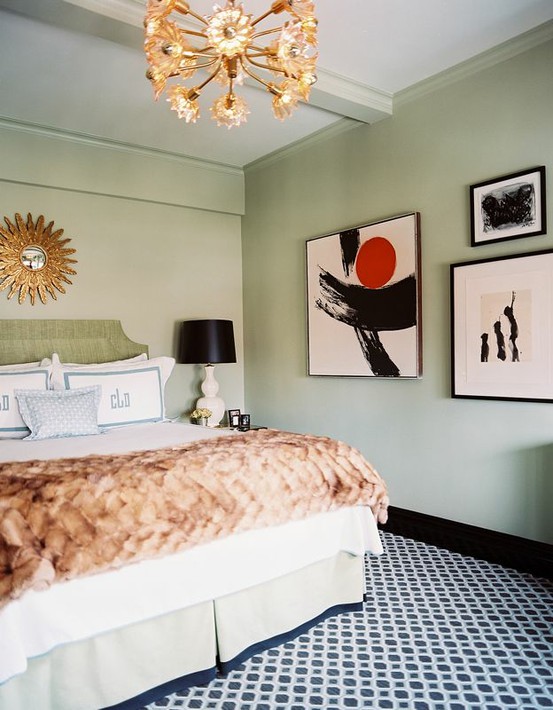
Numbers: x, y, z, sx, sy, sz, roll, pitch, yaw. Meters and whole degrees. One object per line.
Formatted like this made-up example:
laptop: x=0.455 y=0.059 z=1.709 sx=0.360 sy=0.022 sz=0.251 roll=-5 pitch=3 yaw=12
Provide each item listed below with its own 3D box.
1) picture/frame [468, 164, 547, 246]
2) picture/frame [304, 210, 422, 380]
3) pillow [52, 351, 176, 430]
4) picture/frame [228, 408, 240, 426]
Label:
picture/frame: x=1.229 y=-0.785 z=2.645 sx=0.021 sy=0.480 sz=0.497 roll=-1 pitch=-1 yaw=-37
picture/frame: x=0.615 y=-0.407 z=3.431 sx=0.123 sy=1.267 sz=1.234 roll=-2 pitch=2 yaw=-37
pillow: x=-1.060 y=0.223 z=3.203 sx=0.561 sy=0.384 sz=0.084 roll=2 pitch=-32 yaw=-46
picture/frame: x=-0.367 y=0.539 z=4.300 sx=0.079 sy=0.142 sz=0.146 roll=-1 pitch=-6 yaw=3
